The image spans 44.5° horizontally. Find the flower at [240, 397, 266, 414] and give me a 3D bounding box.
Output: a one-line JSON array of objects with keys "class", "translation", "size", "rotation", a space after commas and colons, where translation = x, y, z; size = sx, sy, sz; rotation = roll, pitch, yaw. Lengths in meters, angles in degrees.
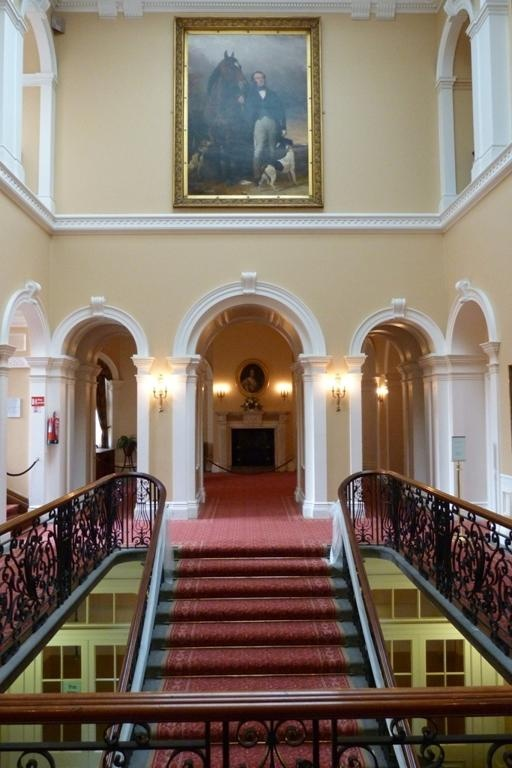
[{"class": "flower", "translation": [-0.102, 0.676, 18.037], "size": [0.467, 0.378, 0.450], "rotation": [6, -5, -42]}]

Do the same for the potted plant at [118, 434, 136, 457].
[{"class": "potted plant", "translation": [-3.505, 1.679, 16.974], "size": [0.473, 0.508, 0.491], "rotation": [-5, -9, 40]}]
